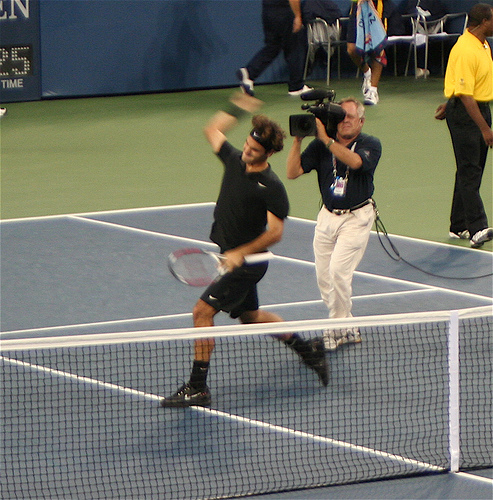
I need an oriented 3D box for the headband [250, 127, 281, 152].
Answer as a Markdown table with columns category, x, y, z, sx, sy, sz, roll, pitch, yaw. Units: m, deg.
| category | x | y | z | sx | sy | sz | roll | pitch | yaw |
| --- | --- | --- | --- | --- | --- | --- | --- | --- | --- |
| headband | 0.122 | -0.761 | 6.473 | 0.171 | 0.161 | 0.070 | -8 | 18 | -33 |
